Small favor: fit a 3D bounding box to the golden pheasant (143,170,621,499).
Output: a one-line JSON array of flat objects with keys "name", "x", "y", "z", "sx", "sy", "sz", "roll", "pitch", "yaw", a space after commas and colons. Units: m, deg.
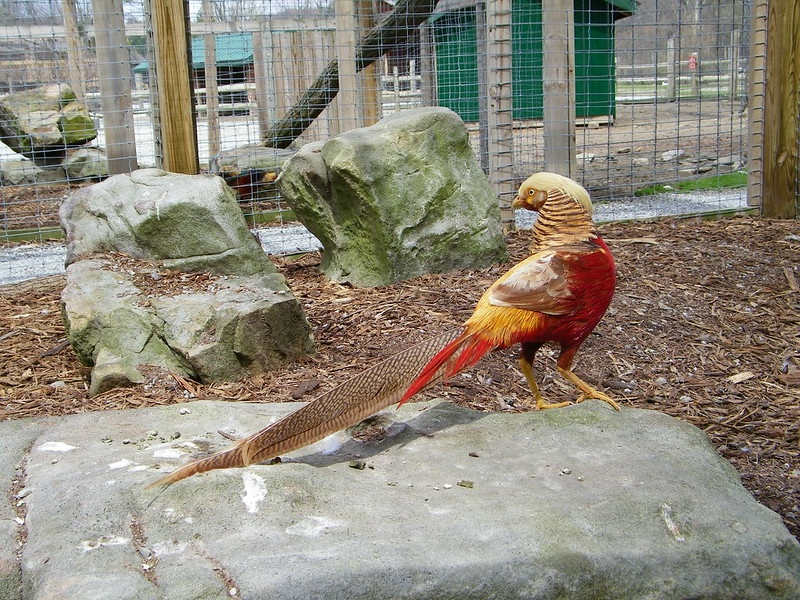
[{"name": "golden pheasant", "x": 0.116, "y": 0.068, "z": 3.696, "sx": 1.785, "sy": 1.130, "sz": 0.481, "roll": -9, "pitch": 18, "yaw": -16}]
